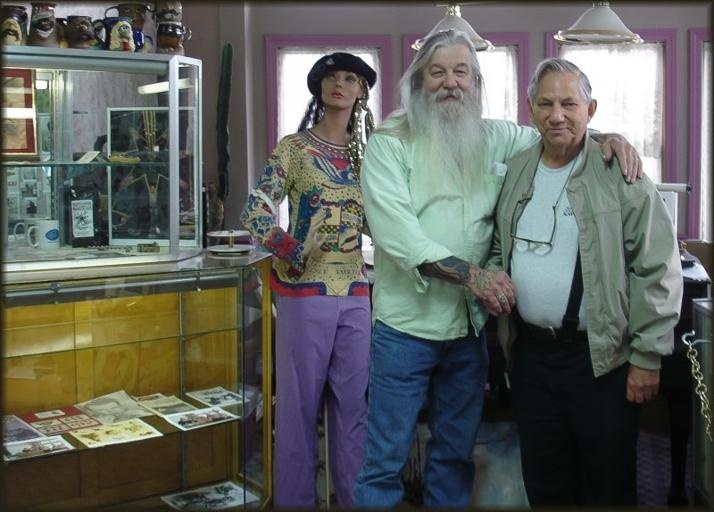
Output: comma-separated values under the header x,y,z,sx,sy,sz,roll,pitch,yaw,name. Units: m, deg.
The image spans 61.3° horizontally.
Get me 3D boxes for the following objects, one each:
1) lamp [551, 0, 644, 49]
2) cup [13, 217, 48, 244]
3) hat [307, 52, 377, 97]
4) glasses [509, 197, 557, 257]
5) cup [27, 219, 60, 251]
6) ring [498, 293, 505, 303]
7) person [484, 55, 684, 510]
x,y,z,sx,sy,sz,roll,pitch,yaw,name
1.421,-1.323,3.660,0.426,0.176,0.428,1,4,6,lamp
-1.475,-0.122,2.756,0.128,0.116,0.074,-1,1,-16,cup
-0.067,-0.919,3.007,0.260,0.098,0.221,3,-20,-19,hat
0.702,-0.135,2.361,0.139,0.183,0.055,13,41,10,glasses
-1.411,-0.096,2.726,0.087,0.133,0.153,3,5,29,cup
0.566,0.166,2.349,0.026,0.026,0.007,14,12,28,ring
0.891,0.136,2.412,0.721,1.826,0.262,0,4,11,person
